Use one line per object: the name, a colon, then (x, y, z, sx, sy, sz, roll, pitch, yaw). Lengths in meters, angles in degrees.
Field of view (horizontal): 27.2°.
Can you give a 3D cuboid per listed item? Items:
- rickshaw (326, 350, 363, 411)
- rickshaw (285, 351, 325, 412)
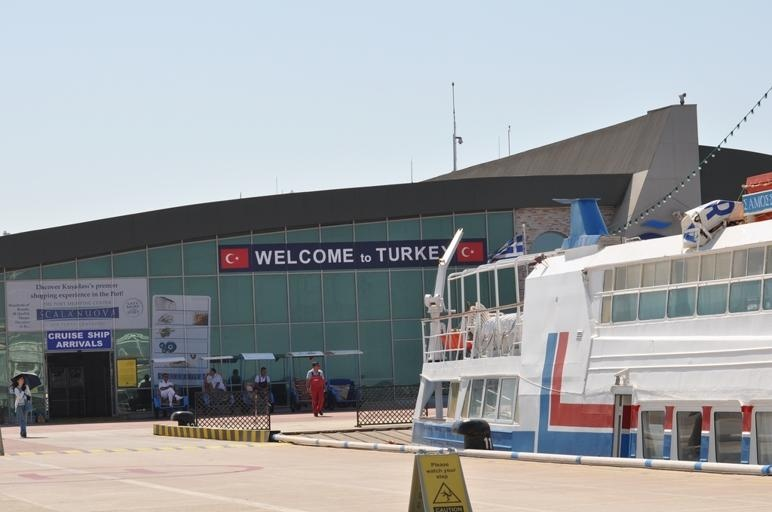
rickshaw: (-1.936, 5.586, 72.179, 2.063, 2.742, 2.624, -6, 2, 0)
rickshaw: (-3.776, 5.816, 71.502, 1.233, 2.785, 1.468, 2, -3, -35)
